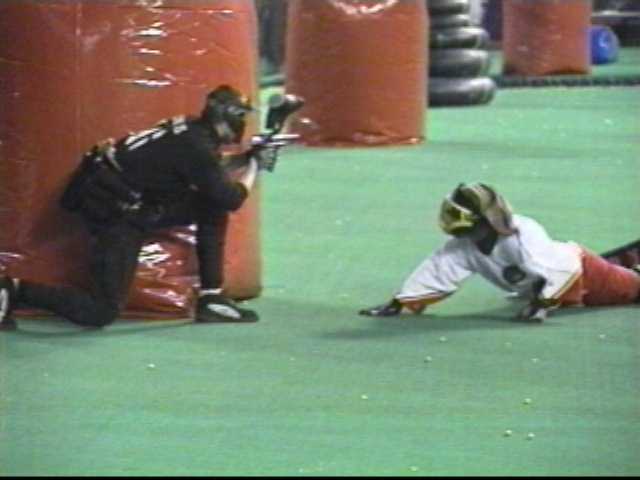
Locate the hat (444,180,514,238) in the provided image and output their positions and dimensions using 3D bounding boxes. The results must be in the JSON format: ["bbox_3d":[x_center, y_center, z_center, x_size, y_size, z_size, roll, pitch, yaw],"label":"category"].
[{"bbox_3d":[0.568,-0.099,3.990,0.250,0.166,0.110,30,27,-11],"label":"hat"}]

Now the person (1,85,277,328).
[{"bbox_3d":[-0.652,-0.101,3.983,0.897,0.808,0.437,-2,30,-2],"label":"person"}]

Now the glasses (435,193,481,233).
[{"bbox_3d":[0.440,-0.090,3.975,0.182,0.123,0.110,-5,53,-22],"label":"glasses"}]

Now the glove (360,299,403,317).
[{"bbox_3d":[0.212,0.243,4.054,0.121,0.031,0.079,-11,9,-15],"label":"glove"}]
